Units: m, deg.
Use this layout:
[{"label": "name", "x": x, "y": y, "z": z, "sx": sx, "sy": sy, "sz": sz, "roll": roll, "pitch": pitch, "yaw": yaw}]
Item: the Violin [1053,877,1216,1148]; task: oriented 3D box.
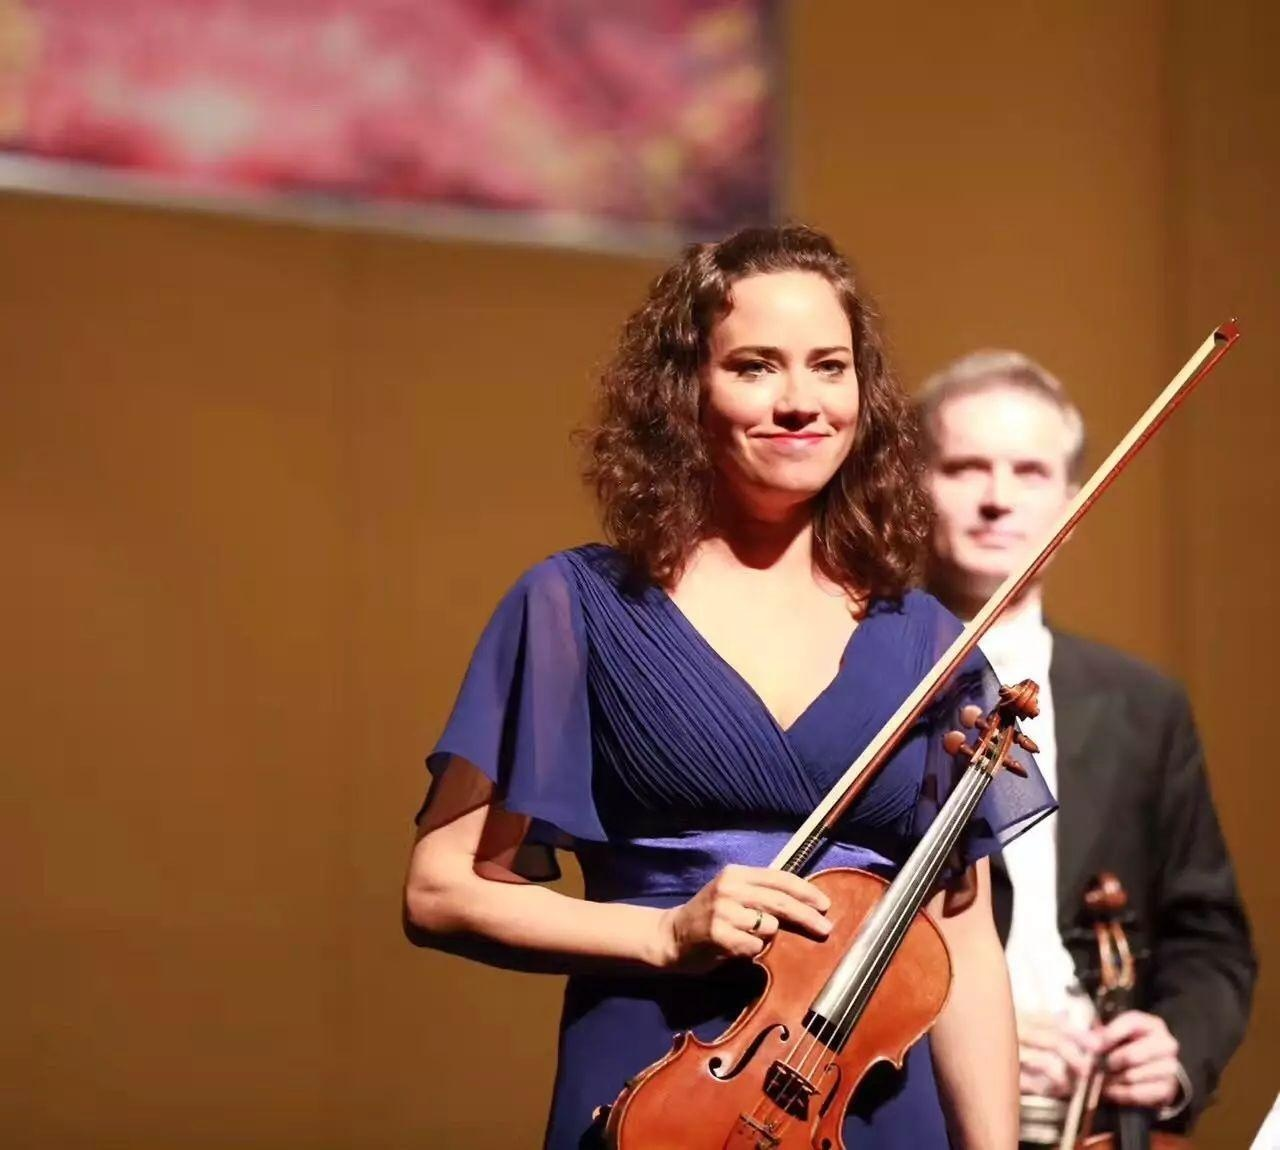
[{"label": "Violin", "x": 0.631, "y": 0.569, "z": 2.935, "sx": 0.229, "sy": 0.248, "sz": 0.084, "roll": 10, "pitch": -5, "yaw": -34}]

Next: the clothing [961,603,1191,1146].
[{"label": "clothing", "x": 0.545, "y": 0.422, "z": 2.864, "sx": 0.258, "sy": 0.769, "sz": 0.131, "roll": -5, "pitch": -3, "yaw": -12}]

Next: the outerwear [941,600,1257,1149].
[{"label": "outerwear", "x": 0.615, "y": 0.400, "z": 3.077, "sx": 0.461, "sy": 0.648, "sz": 0.142, "roll": 3, "pitch": -8, "yaw": -29}]
